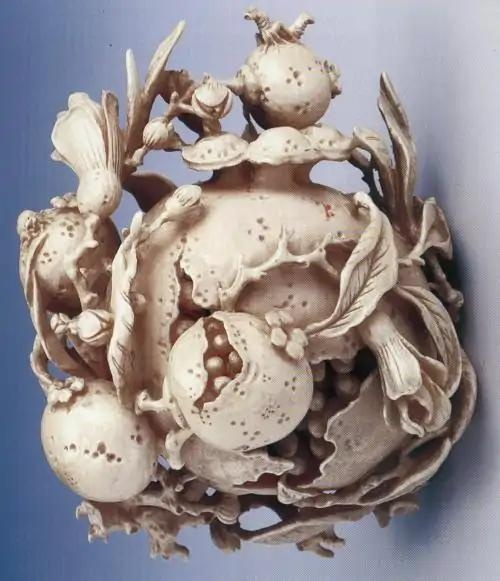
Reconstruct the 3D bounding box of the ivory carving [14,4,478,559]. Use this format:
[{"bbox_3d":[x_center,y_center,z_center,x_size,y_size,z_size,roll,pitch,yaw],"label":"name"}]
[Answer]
[{"bbox_3d":[-0.019,0.009,2.657,0.687,1.034,0.531,-2,0,-2],"label":"ivory carving"}]
